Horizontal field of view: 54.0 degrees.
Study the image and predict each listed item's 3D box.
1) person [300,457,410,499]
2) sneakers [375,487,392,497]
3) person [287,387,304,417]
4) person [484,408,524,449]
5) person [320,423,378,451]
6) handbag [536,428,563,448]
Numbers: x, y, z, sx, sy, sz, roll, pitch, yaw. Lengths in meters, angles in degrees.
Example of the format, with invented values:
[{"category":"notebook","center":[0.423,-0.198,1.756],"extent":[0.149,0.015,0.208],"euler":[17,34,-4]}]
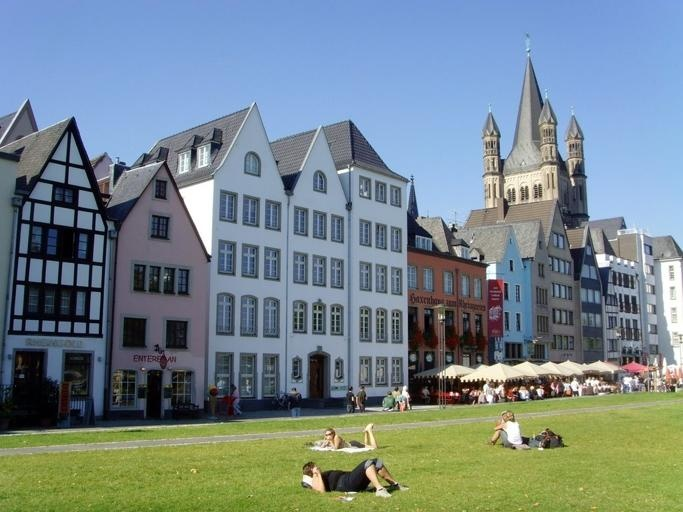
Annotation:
[{"category":"person","center":[0.142,5.419,16.446],"extent":[1.760,0.667,1.152],"euler":[-8,-13,22]},{"category":"sneakers","center":[0.956,5.556,15.808],"extent":[0.390,0.189,0.155],"euler":[-1,-2,20]},{"category":"person","center":[-3.383,10.372,47.479],"extent":[1.314,3.232,1.019],"euler":[0,-8,-11]},{"category":"person","center":[5.924,6.315,24.302],"extent":[0.773,1.309,1.843],"euler":[-1,-16,-4]},{"category":"person","center":[0.336,6.530,23.554],"extent":[1.516,0.600,1.153],"euler":[16,-26,-38]},{"category":"handbag","center":[7.358,6.542,24.002],"extent":[0.693,0.649,1.386],"euler":[-14,-20,33]}]
